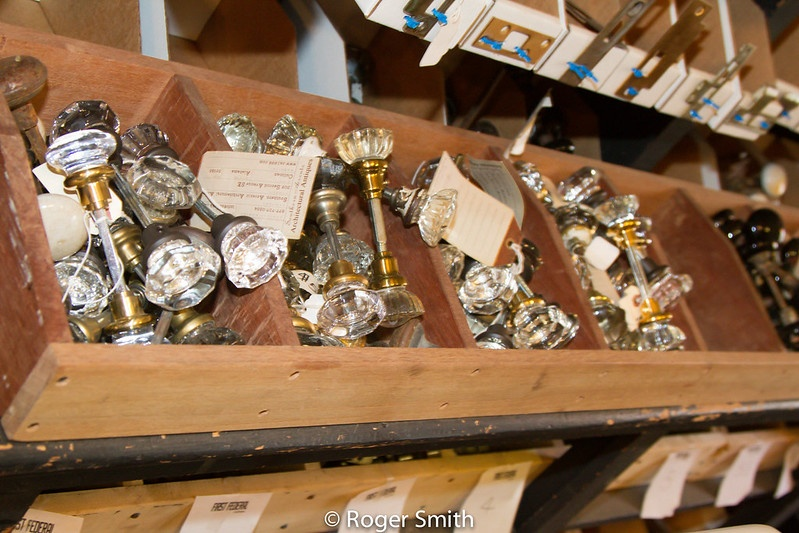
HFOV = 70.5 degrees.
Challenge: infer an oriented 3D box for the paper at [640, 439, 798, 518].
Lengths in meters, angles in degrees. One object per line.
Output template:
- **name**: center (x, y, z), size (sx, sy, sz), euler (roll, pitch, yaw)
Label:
- **paper**: center (1.050, 0.682, 1.849), size (0.722, 0.341, 0.027), euler (0, 47, -35)
